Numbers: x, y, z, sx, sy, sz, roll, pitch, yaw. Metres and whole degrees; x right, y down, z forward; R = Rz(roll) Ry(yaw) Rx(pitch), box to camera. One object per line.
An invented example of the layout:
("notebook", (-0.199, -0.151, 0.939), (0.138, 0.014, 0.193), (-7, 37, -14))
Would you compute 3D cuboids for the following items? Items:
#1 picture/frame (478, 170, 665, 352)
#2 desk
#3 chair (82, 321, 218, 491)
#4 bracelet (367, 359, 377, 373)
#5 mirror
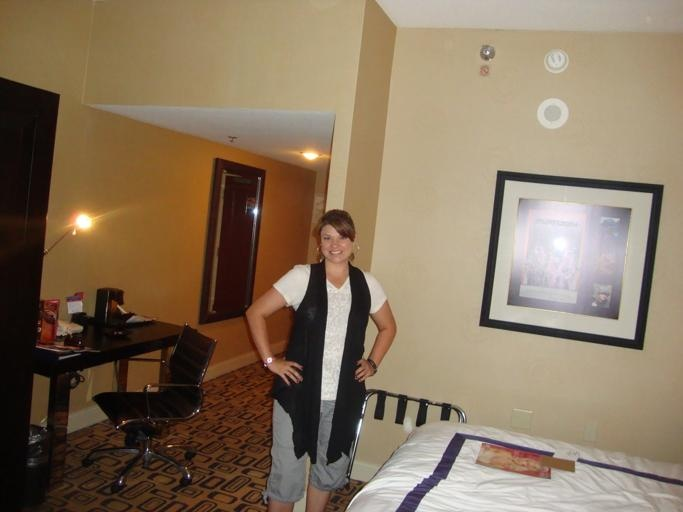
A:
("picture/frame", (1.605, 0.024, 3.534), (1.025, 1.184, 0.079), (7, 3, 9))
("desk", (-1.870, 0.955, 4.080), (0.592, 0.758, 1.191), (10, 12, 28))
("chair", (-1.418, 1.110, 3.859), (0.806, 1.077, 0.797), (6, 3, -15))
("bracelet", (0.187, 0.670, 3.150), (0.034, 0.078, 0.062), (-7, 8, -41))
("mirror", (-1.165, -0.266, 5.830), (0.785, 1.552, 0.074), (4, -6, 31))
